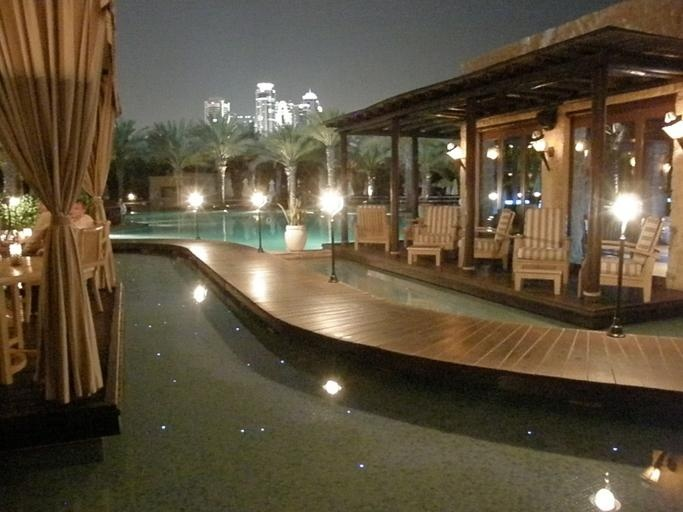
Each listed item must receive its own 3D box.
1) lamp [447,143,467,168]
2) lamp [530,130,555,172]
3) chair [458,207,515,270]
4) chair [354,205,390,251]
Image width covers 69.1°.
[{"bbox_3d":[2.927,-2.606,12.757,0.373,0.635,1.912,1,11,11],"label":"lamp"},{"bbox_3d":[4.164,-2.211,10.359,0.395,0.845,0.429,0,10,3],"label":"lamp"},{"bbox_3d":[2.952,-0.288,9.992,1.185,1.412,1.360,-1,1,13],"label":"chair"},{"bbox_3d":[0.800,-0.739,12.889,0.878,1.060,0.462,-1,10,1],"label":"chair"}]
